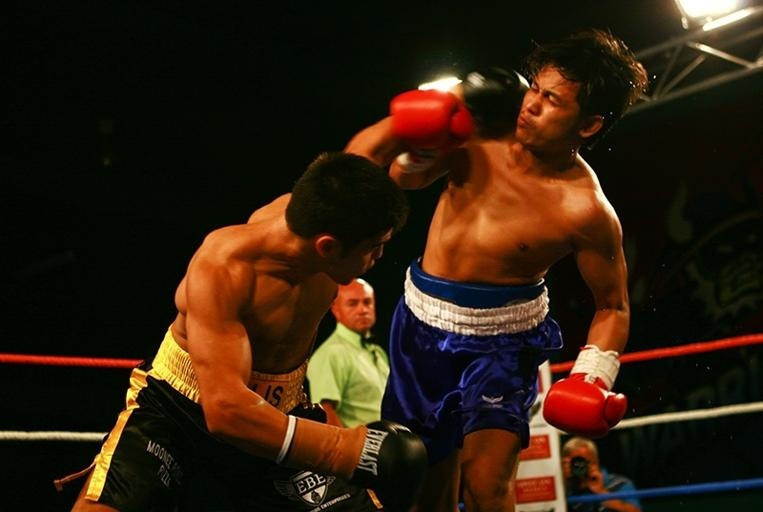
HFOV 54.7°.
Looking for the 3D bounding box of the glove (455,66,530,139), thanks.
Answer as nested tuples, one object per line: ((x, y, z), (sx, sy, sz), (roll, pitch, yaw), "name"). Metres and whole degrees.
((0.669, -0.864, 4.330), (0.454, 0.627, 0.223), (-12, -42, 22), "glove")

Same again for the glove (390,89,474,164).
((0.300, -0.788, 4.421), (0.511, 0.336, 0.628), (0, 0, -14), "glove")

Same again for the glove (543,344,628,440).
((1.250, 0.776, 4.358), (0.432, 0.291, 0.657), (12, 38, 28), "glove")
